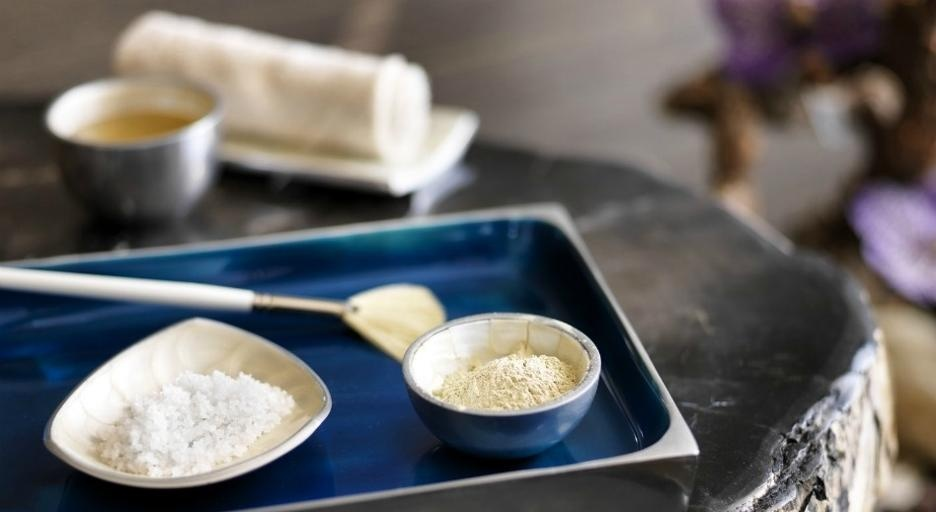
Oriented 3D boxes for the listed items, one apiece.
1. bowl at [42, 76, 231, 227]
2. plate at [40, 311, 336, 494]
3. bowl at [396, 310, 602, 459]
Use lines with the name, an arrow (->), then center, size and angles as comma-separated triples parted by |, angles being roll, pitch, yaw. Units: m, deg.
bowl -> -0.448, -0.124, 1.177 | 0.216, 0.136, 0.211 | 2, 25, -1
plate -> -0.293, 0.164, 0.923 | 0.238, 0.051, 0.227 | 34, 56, 17
bowl -> 0.032, 0.130, 0.929 | 0.199, 0.076, 0.156 | 19, 53, 6
